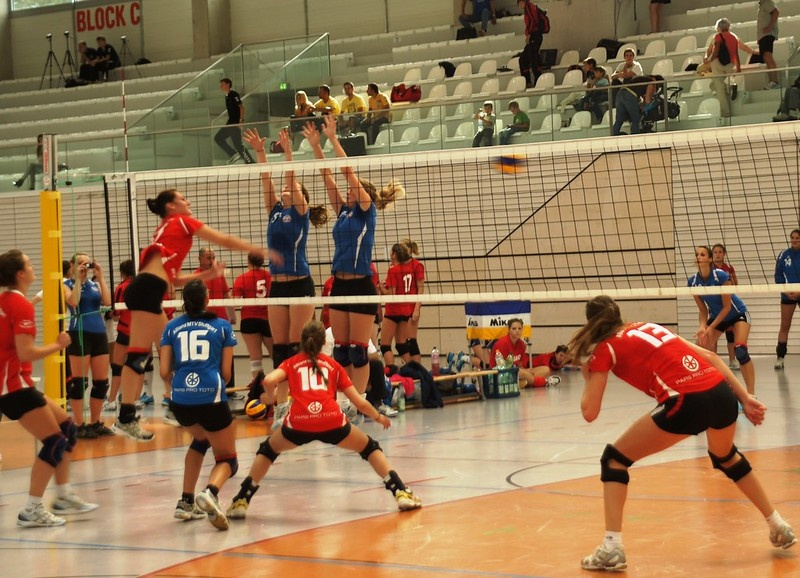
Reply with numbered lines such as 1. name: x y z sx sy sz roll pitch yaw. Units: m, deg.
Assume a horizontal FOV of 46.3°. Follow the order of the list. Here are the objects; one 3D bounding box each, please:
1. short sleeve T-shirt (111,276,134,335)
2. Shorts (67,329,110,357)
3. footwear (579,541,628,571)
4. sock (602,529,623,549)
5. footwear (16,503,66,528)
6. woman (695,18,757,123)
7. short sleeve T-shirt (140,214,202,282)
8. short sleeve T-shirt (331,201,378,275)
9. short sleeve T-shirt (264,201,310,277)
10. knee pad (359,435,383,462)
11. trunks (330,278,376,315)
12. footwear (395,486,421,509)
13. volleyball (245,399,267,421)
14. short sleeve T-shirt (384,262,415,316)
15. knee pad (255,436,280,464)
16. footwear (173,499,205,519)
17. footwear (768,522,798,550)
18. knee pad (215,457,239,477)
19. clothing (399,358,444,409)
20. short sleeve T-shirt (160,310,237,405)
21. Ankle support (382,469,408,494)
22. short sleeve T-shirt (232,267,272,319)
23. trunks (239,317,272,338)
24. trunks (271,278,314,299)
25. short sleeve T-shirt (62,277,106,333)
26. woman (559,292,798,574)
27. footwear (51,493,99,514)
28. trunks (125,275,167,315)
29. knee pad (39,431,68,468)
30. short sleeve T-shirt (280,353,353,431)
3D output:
1. short sleeve T-shirt: -4.117 0.239 13.671 0.258 0.789 0.510 6 -7 -37
2. Shorts: -4.142 0.719 12.333 0.469 0.366 0.342 4 -15 -27
3. footwear: 1.680 2.159 7.587 0.428 0.258 0.168 -4 -6 18
4. sock: 1.738 2.024 7.591 0.132 0.138 0.111 0 0 -8
5. footwear: -3.463 2.173 9.022 0.506 0.257 0.193 1 -3 -3
6. woman: 6.372 -4.283 18.331 0.898 1.935 0.838 -4 6 -26
7. short sleeve T-shirt: -2.399 -0.412 9.799 0.704 0.716 0.324 -6 14 -8
8. short sleeve T-shirt: -0.593 -0.637 11.475 0.495 1.000 0.642 7 -8 -33
9. short sleeve T-shirt: -1.381 -0.605 11.576 0.539 0.900 0.492 -6 14 -8
10. knee pad: -0.285 1.518 9.009 0.180 0.235 0.179 17 26 -39
11. trunks: -0.564 0.074 11.394 0.553 0.549 0.428 -1 -11 8
12. footwear: 0.079 1.987 8.870 0.119 0.154 0.315 -5 -6 21
13. volleyball: -2.060 1.703 13.235 0.263 0.280 0.267 -15 -9 -47
14. short sleeve T-shirt: 0.006 0.002 13.988 0.718 0.950 0.346 1 8 -2
15. knee pad: -1.267 1.527 9.001 0.202 0.198 0.233 32 -16 3
16. footwear: -1.958 2.097 8.974 0.158 0.213 0.407 -1 -9 41
17. footwear: 3.176 2.051 7.747 0.221 0.233 0.164 -11 -1 22
18. knee pad: -1.641 1.662 8.933 0.162 0.247 0.223 -10 -14 14
19. clothing: 0.328 1.438 14.269 0.231 0.754 0.559 -11 -7 -7
20. short sleeve T-shirt: -1.906 0.661 8.951 0.614 0.749 0.490 -6 14 -9
21. Ankle support: -0.053 1.851 8.923 0.178 0.245 0.110 -36 -2 6
22. short sleeve T-shirt: -2.146 0.107 13.954 0.774 0.848 0.306 5 25 -1
23. trunks: -2.147 0.565 13.816 0.433 0.370 0.282 -6 14 -5
24. trunks: -1.332 -0.011 11.553 0.356 0.278 0.279 -2 -27 9
25. short sleeve T-shirt: -4.221 0.209 12.435 0.476 0.725 0.570 -9 15 -20
26. woman: 2.217 1.128 7.782 1.598 2.058 0.909 -5 14 -1
27. footwear: -3.251 2.110 9.291 0.482 0.246 0.173 0 0 -4
28. trunks: -2.717 -0.008 9.854 0.345 0.490 0.494 0 5 -17
29. knee pad: -3.324 1.515 8.913 0.299 0.333 0.179 -12 16 -28
30. short sleeve T-shirt: -0.849 1.028 8.960 0.845 0.883 0.452 2 -29 -12
